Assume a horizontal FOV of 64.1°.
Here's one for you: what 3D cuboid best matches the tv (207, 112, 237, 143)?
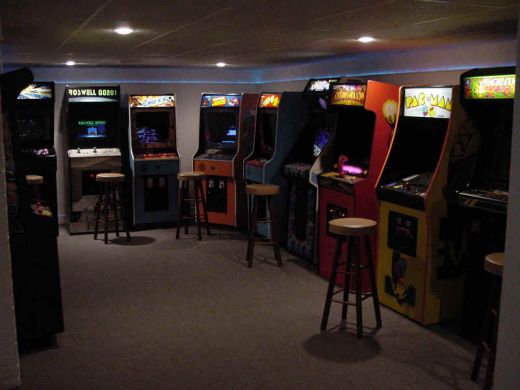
[{"bbox_3d":[-0.689,-1.243,7.536,0.564,0.523,0.186,2,2,12],"label":"tv"}]

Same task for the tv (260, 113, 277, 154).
[{"bbox_3d":[0.127,-0.961,6.663,0.122,0.694,0.348,-7,15,-29],"label":"tv"}]

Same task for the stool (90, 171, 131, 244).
[{"bbox_3d":[-2.449,0.157,6.771,0.566,1.091,1.099,-5,13,-19],"label":"stool"}]

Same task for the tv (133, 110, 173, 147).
[{"bbox_3d":[-1.954,-1.218,7.470,0.695,0.579,0.267,-1,0,-17],"label":"tv"}]

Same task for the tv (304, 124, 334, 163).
[{"bbox_3d":[0.824,-0.731,5.762,0.029,0.554,0.557,16,9,-18],"label":"tv"}]
